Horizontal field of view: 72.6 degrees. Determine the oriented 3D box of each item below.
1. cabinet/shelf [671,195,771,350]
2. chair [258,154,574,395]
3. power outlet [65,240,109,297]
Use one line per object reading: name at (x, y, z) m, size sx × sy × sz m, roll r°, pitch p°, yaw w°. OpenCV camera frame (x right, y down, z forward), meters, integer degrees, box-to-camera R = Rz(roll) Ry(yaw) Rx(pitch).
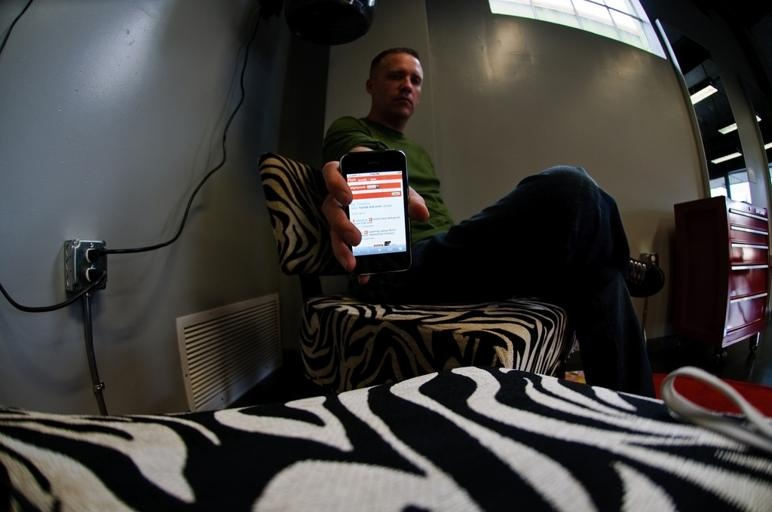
cabinet/shelf at (0.911, 0.053, 1.417) m, size 0.342 × 0.356 × 0.131 m, roll -11°, pitch -2°, yaw -35°
chair at (0.119, 0.053, 1.405) m, size 0.720 × 0.548 × 0.723 m, roll 2°, pitch 3°, yaw 44°
power outlet at (-0.616, 0.023, 1.115) m, size 0.072 × 0.119 × 0.060 m, roll 1°, pitch 4°, yaw -5°
